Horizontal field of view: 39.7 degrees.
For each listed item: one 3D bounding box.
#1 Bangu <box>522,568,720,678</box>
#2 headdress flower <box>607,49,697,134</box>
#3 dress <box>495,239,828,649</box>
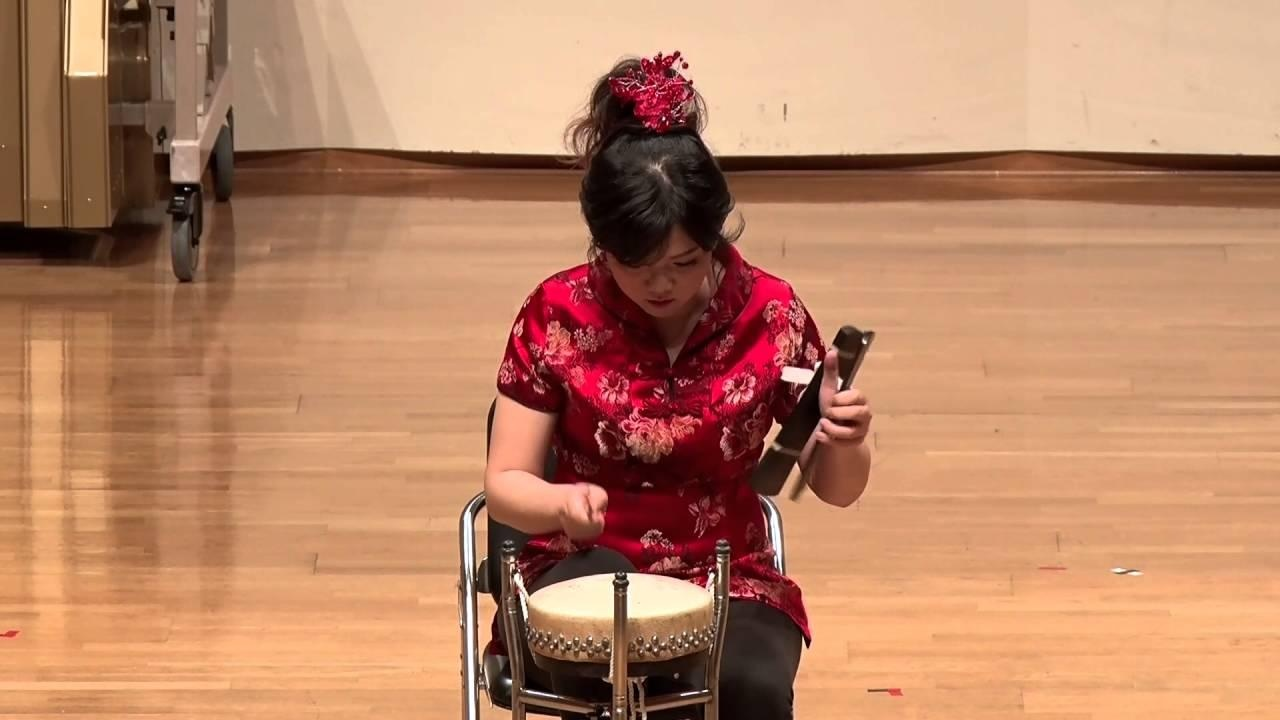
[{"bbox_3d":[-0.047,0.648,4.401,0.467,0.208,0.131,-1,5,-6],"label":"Bangu"},{"bbox_3d":[0.015,-0.674,4.660,0.236,0.230,0.095,-32,-7,-25],"label":"headdress flower"},{"bbox_3d":[0.045,0.198,4.935,0.980,1.015,0.752,2,10,0],"label":"dress"}]
